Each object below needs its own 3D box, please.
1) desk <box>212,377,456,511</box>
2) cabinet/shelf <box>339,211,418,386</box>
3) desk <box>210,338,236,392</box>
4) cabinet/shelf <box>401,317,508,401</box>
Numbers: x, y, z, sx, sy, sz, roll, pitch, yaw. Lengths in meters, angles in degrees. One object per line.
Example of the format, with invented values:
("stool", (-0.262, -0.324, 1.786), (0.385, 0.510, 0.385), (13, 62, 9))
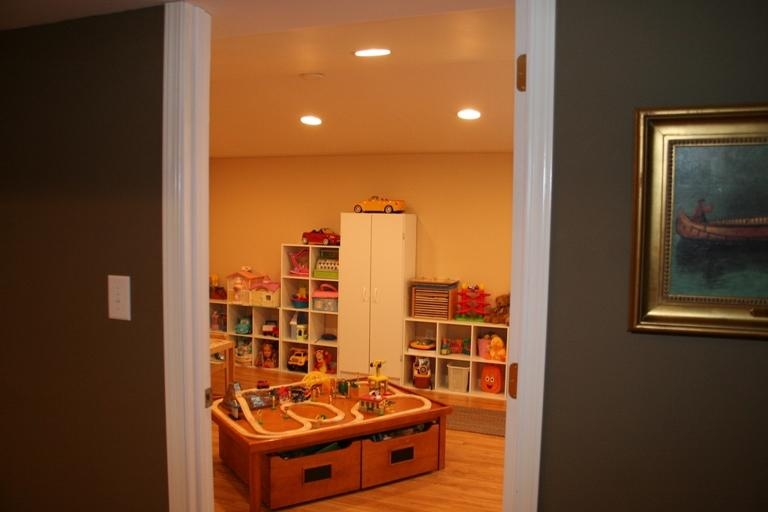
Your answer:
("desk", (-0.363, 1.219, 4.074), (1.503, 0.556, 0.701), (-3, 11, -25))
("cabinet/shelf", (-0.112, 0.379, 5.780), (0.729, 1.590, 0.242), (5, 10, 24))
("desk", (-1.348, 0.932, 4.959), (0.280, 0.330, 0.253), (-11, -1, -8))
("cabinet/shelf", (0.676, 0.917, 5.705), (0.963, 0.701, 0.363), (4, 10, 15))
